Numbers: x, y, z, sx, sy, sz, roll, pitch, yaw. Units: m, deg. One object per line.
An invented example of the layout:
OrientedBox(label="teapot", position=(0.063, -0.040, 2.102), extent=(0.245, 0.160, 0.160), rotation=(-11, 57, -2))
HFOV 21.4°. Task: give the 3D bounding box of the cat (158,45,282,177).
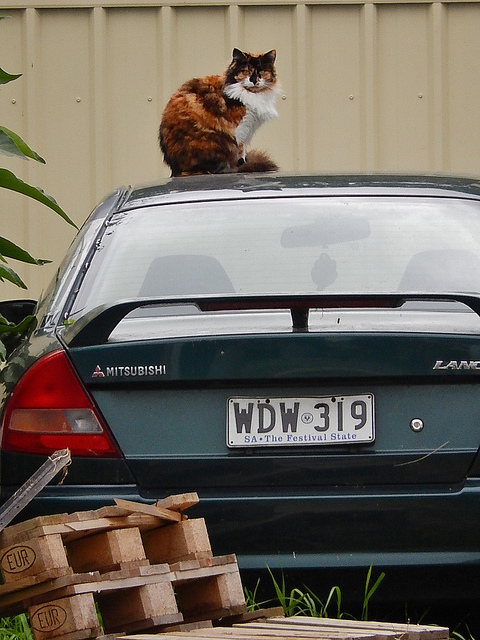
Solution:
OrientedBox(label="cat", position=(-0.092, -1.147, 7.603), extent=(0.670, 0.908, 0.570), rotation=(-5, -20, 10))
